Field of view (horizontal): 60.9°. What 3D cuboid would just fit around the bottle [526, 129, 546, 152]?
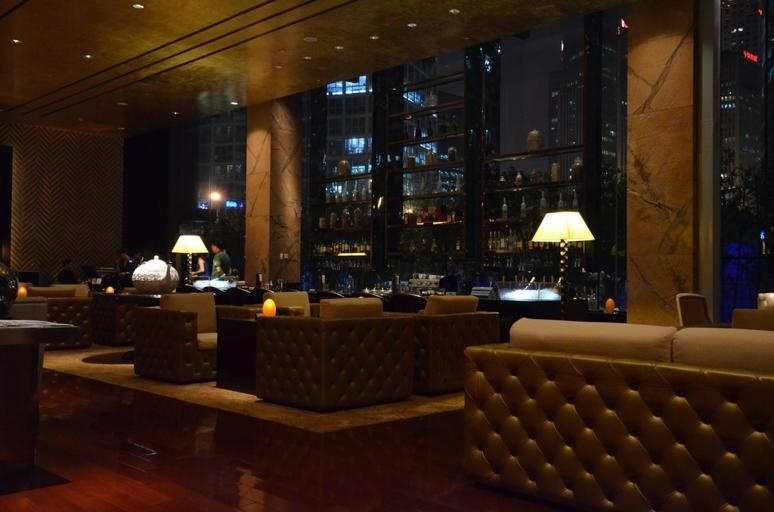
[{"bbox_3d":[2.487,-1.905,11.040,0.275,0.362,0.335,-1,-5,26],"label":"bottle"}]
